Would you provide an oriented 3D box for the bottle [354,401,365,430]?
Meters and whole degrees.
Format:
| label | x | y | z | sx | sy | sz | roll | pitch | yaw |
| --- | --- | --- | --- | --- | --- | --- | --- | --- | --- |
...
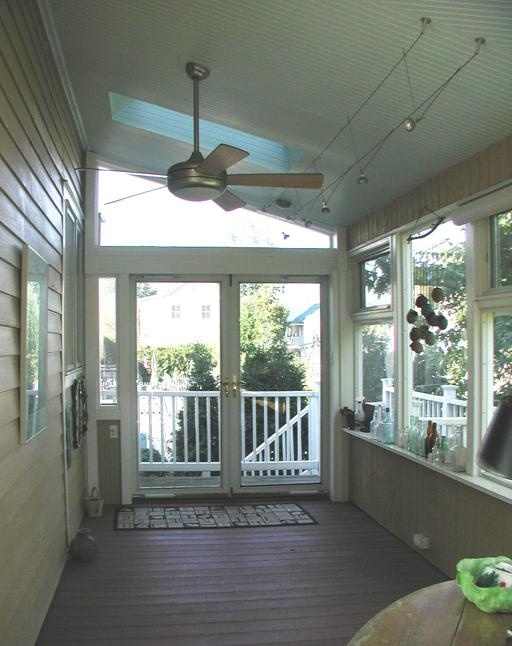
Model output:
| label | x | y | z | sx | sy | sz | roll | pitch | yaw |
| --- | --- | --- | --- | --- | --- | --- | --- | --- | --- |
| bottle | 0.938 | 0.818 | 4.709 | 0.085 | 0.251 | 0.116 | 0 | -2 | 16 |

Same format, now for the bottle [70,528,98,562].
| label | x | y | z | sx | sy | sz | roll | pitch | yaw |
| --- | --- | --- | --- | --- | --- | --- | --- | --- | --- |
| bottle | -1.118 | 1.440 | 3.401 | 0.197 | 0.226 | 0.082 | 4 | -10 | -14 |

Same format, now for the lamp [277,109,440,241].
| label | x | y | z | sx | sy | sz | roll | pitch | yaw |
| --- | --- | --- | --- | --- | --- | --- | --- | --- | --- |
| lamp | 0.665 | -1.058 | 3.592 | 0.163 | 0.210 | 1.756 | 29 | -22 | -4 |

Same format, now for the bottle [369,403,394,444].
| label | x | y | z | sx | sy | sz | roll | pitch | yaw |
| --- | --- | --- | --- | --- | --- | --- | --- | --- | --- |
| bottle | 1.008 | 0.798 | 4.174 | 0.116 | 0.325 | 0.338 | 3 | -8 | -6 |

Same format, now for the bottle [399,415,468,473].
| label | x | y | z | sx | sy | sz | roll | pitch | yaw |
| --- | --- | --- | --- | --- | --- | --- | --- | --- | --- |
| bottle | 1.149 | 0.766 | 3.398 | 0.154 | 0.243 | 0.594 | 2 | -6 | -5 |
